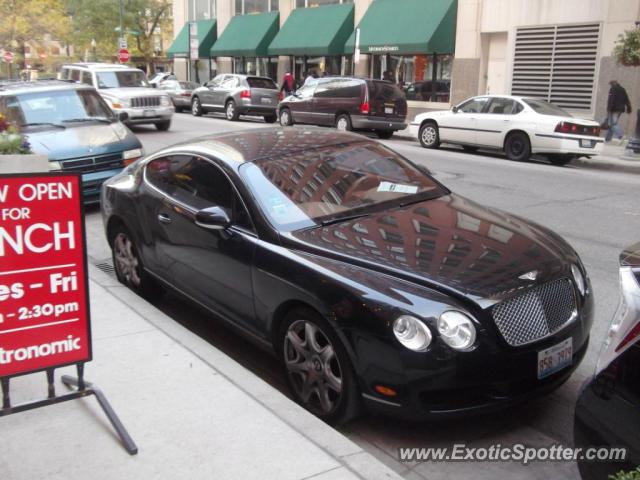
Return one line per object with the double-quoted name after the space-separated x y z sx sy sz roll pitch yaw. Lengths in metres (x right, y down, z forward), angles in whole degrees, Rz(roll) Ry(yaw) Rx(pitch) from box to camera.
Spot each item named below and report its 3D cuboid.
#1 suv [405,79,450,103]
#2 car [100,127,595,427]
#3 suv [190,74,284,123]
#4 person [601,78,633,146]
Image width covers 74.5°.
6.343 -8.602 24.345 2.612 0.859 1.126 16 24 39 "suv"
-0.117 -0.084 4.537 5.193 2.014 2.430 14 20 42 "car"
-5.221 -8.529 25.003 2.669 1.927 5.390 -14 28 -39 "suv"
11.931 -5.163 16.863 0.829 2.357 1.065 10 18 32 "person"
